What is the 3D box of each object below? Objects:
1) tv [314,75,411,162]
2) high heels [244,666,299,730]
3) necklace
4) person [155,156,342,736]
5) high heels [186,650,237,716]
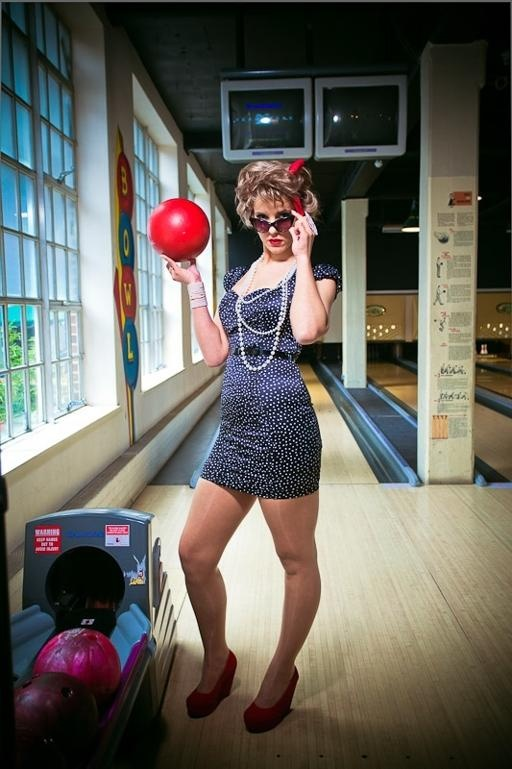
[{"bbox_3d":[0.720,-1.736,3.360,0.625,0.608,0.380,1,-11,4],"label":"tv"},{"bbox_3d":[0.035,0.853,1.296,0.079,0.122,0.156,-1,-3,37],"label":"high heels"},{"bbox_3d":[0.007,-0.163,1.163,0.121,0.274,0.042,-1,-10,34],"label":"necklace"},{"bbox_3d":[-0.017,0.176,1.263,0.413,1.475,0.282,-1,4,9],"label":"person"},{"bbox_3d":[-0.141,0.856,1.366,0.054,0.127,0.183,1,-8,16],"label":"high heels"}]
